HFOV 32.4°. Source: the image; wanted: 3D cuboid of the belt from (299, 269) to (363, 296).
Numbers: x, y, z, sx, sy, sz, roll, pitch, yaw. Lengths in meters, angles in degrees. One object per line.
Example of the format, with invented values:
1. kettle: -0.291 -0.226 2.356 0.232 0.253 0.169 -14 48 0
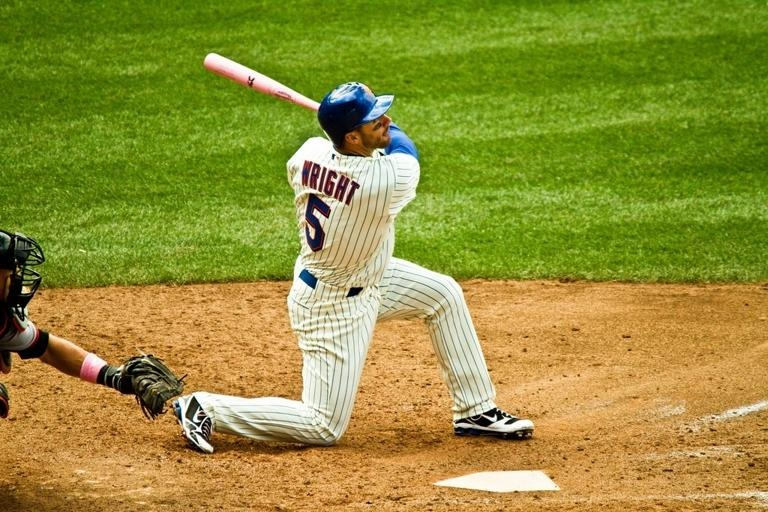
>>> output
1. belt: -0.471 0.202 10.935 0.353 0.083 0.276 14 -14 39

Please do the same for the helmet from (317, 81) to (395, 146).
1. helmet: -0.251 -1.195 10.808 0.293 0.627 0.443 53 8 -26

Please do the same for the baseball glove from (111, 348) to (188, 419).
1. baseball glove: -1.936 0.978 10.764 0.550 0.237 0.417 25 43 17

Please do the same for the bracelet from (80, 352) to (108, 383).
1. bracelet: -2.352 0.903 10.820 0.226 0.182 0.242 6 0 -5
